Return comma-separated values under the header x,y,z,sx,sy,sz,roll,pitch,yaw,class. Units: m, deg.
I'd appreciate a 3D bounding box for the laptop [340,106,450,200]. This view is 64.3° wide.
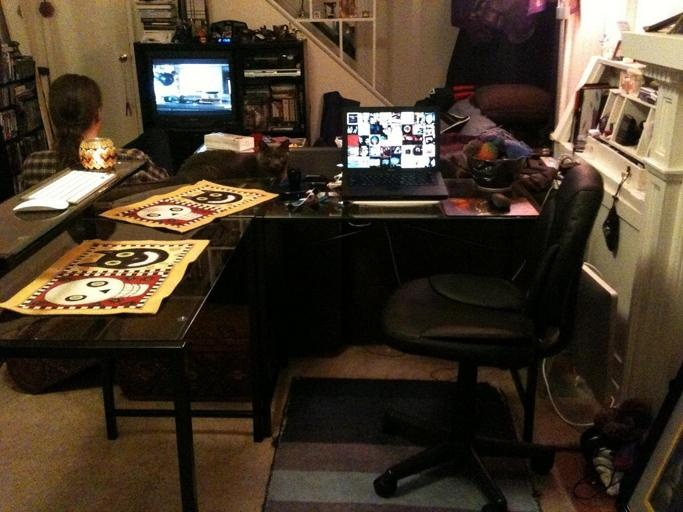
x,y,z,sx,sy,sz,roll,pitch,yaw,class
0.240,-0.493,2.606,0.585,0.367,0.459,0,35,1,laptop

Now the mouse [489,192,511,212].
x,y,z,sx,sy,sz,roll,pitch,yaw,class
0.684,-0.225,2.355,0.095,0.041,0.088,-7,36,0,mouse

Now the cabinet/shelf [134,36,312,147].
x,y,z,sx,sy,sz,roll,pitch,yaw,class
-1.157,-1.641,5.328,1.750,1.424,0.527,-1,27,-2,cabinet/shelf

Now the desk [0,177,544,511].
x,y,z,sx,sy,sz,roll,pitch,yaw,class
-0.308,0.399,2.284,1.351,0.595,0.799,-2,39,-8,desk

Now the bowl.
x,y,z,sx,sy,sz,roll,pitch,yaw,class
0.764,-0.369,2.658,0.292,0.162,0.285,2,-1,0,bowl

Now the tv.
x,y,z,sx,sy,sz,roll,pitch,yaw,class
-1.501,-1.712,5.561,1.007,0.619,0.503,0,30,-2,tv
